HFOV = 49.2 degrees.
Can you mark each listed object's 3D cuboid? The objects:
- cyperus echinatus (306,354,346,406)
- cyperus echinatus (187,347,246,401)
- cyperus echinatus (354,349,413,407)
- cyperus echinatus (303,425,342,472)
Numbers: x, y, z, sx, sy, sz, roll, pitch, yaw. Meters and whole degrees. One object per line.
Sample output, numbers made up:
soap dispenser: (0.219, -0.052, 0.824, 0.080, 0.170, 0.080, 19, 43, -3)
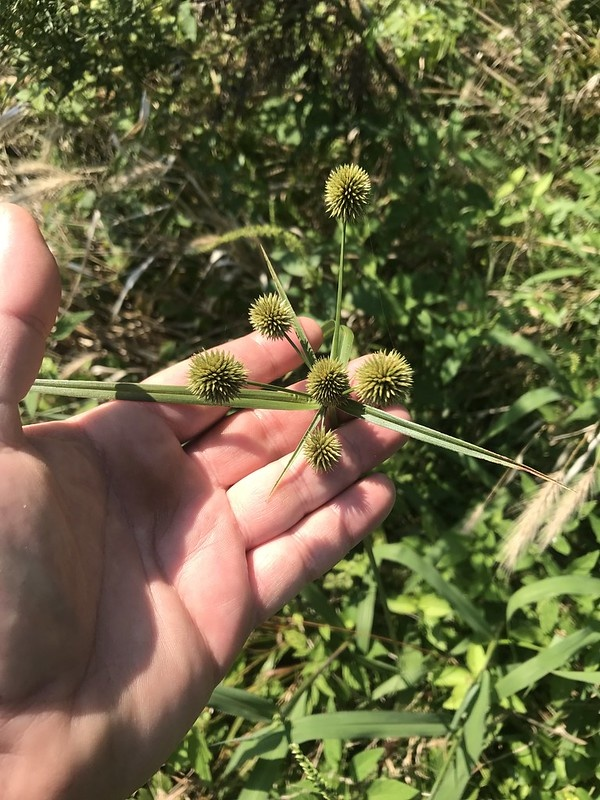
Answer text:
cyperus echinatus: (0.105, -0.088, 2.600, 0.144, 0.153, 0.137, 3, -9, -40)
cyperus echinatus: (-0.346, -0.101, 2.571, 0.209, 0.191, 0.211, 23, 30, 34)
cyperus echinatus: (0.333, -0.085, 2.630, 0.186, 0.185, 0.172, 14, 2, -19)
cyperus echinatus: (0.085, 0.203, 2.781, 0.154, 0.188, 0.188, 11, 35, -9)
